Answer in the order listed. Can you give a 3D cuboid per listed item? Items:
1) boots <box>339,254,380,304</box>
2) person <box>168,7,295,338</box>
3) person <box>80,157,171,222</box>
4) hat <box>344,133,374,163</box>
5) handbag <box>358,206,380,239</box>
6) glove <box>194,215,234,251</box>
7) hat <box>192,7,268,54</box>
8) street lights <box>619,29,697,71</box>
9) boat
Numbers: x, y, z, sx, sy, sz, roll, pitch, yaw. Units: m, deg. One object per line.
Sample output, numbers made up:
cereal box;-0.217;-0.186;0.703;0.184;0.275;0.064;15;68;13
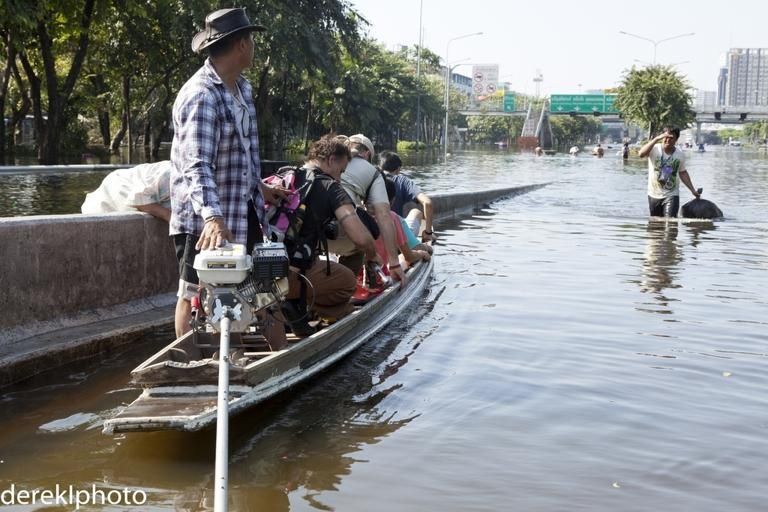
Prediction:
boots;-0.217;0.236;7.972;0.278;0.760;0.332;-14;52;-37
person;-1.231;-0.588;5.609;0.813;2.672;1.015;-4;12;-23
person;-2.779;-0.711;7.765;1.052;0.635;0.544;11;15;43
hat;-0.266;-1.331;8.787;0.319;0.252;0.477;13;-10;22
handbag;-0.160;-0.351;7.422;0.113;0.308;0.228;-31;19;-1
glove;-1.274;-0.169;5.307;0.249;0.162;0.495;-12;7;1
hat;-1.227;-1.802;5.620;0.511;0.190;0.430;-33;16;-19
street lights;0.612;-0.471;1.638;0.157;0.100;0.027;9;-31;23
boat;-0.771;0.577;6.640;0.814;0.418;3.775;5;10;21
